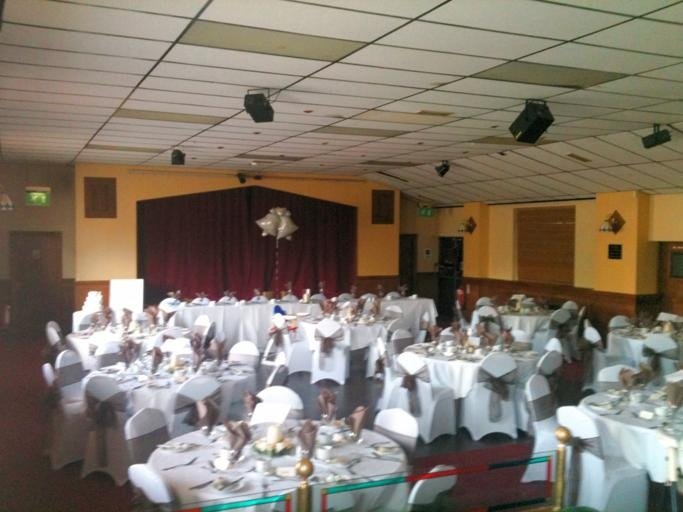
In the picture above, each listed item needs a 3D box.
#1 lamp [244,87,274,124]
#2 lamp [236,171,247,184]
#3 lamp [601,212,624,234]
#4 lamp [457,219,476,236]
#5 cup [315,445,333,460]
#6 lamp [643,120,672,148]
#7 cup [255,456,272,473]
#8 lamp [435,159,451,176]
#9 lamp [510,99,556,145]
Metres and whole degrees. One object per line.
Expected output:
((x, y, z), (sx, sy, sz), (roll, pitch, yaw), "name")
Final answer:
((-1.042, -1.887, 6.581), (0.336, 0.402, 0.405), (0, -2, -9), "lamp")
((-2.643, -2.083, 13.950), (0.247, 0.301, 0.287), (0, -2, -12), "lamp")
((6.040, -0.743, 11.663), (0.491, 0.500, 0.321), (-2, -2, 20), "lamp")
((3.730, -0.891, 15.517), (0.248, 0.483, 0.584), (0, -2, -31), "lamp")
((-0.137, 1.623, 4.317), (0.075, 0.077, 0.117), (-1, -4, 25), "cup")
((5.016, -1.864, 8.294), (0.353, 0.326, 0.631), (-2, -3, 35), "lamp")
((-0.622, 1.667, 4.190), (0.122, 0.112, 0.079), (3, -4, -40), "cup")
((2.261, -1.949, 11.652), (0.353, 0.170, 0.439), (5, 35, 12), "lamp")
((2.571, -1.801, 7.034), (0.379, 0.491, 0.493), (0, -2, -14), "lamp")
